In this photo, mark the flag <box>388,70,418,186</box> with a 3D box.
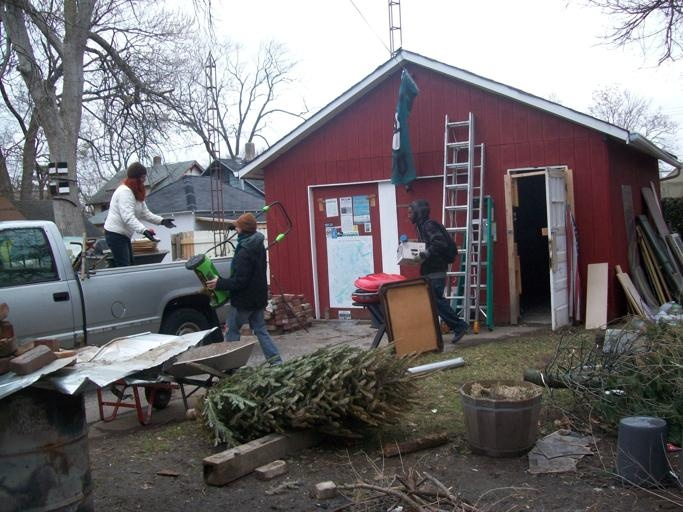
[{"bbox_3d":[1.226,-2.592,10.685,0.591,2.400,0.553,-4,4,-10],"label":"flag"}]

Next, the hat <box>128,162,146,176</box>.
[{"bbox_3d":[-3.010,-1.259,7.875,0.211,0.175,0.224,-1,8,22],"label":"hat"}]

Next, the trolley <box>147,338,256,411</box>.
[{"bbox_3d":[-1.423,1.216,5.712,1.025,0.534,0.793,-18,7,-29],"label":"trolley"}]

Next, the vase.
[{"bbox_3d":[1.397,1.440,4.756,0.655,0.514,0.701,-2,-1,-24],"label":"vase"}]

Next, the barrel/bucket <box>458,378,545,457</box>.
[{"bbox_3d":[1.402,1.474,4.728,0.647,0.489,0.668,0,-8,0],"label":"barrel/bucket"}]

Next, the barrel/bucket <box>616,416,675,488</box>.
[{"bbox_3d":[2.274,1.464,4.031,0.349,0.447,0.266,-6,5,-27],"label":"barrel/bucket"}]

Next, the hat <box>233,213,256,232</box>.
[{"bbox_3d":[-1.288,-0.462,7.136,0.267,0.189,0.212,12,22,39],"label":"hat"}]
